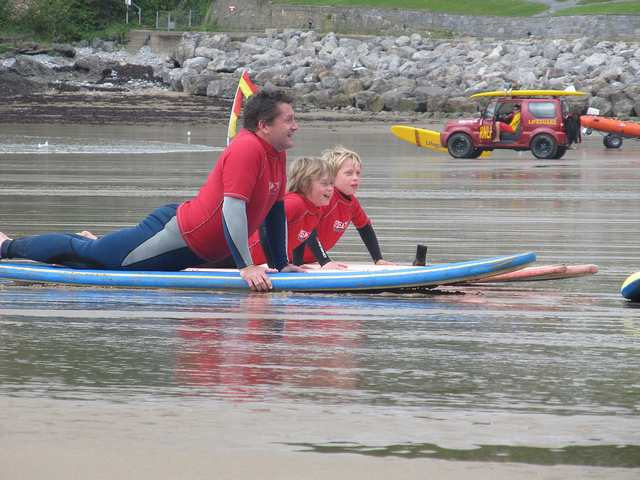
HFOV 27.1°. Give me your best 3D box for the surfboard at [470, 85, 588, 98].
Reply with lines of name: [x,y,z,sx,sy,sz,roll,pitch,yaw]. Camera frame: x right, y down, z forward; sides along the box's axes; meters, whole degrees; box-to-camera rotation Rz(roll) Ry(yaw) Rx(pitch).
surfboard: [4.250,-2.990,26.949,1.991,0.214,4.186,2,7,12]

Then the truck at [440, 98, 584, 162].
truck: [3.672,-2.142,25.429,2.682,0.810,1.270,2,2,10]
